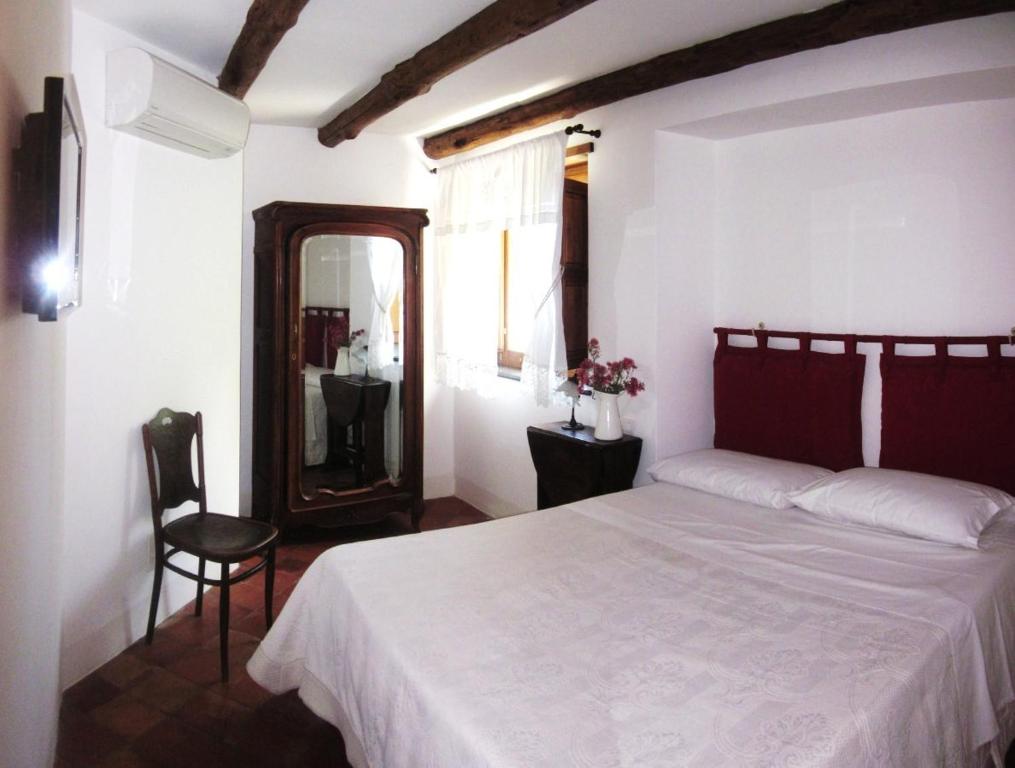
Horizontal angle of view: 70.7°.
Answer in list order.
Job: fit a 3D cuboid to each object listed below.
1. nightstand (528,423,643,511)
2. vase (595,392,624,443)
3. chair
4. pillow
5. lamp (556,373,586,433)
[{"bbox_3d":[0.427,0.450,4.290,0.408,0.774,0.763,0,2,-33],"label":"nightstand"},{"bbox_3d":[0.577,0.185,4.044,0.196,0.284,0.220,0,-1,-35],"label":"vase"},{"bbox_3d":[-1.470,0.710,3.523,0.905,1.104,0.630,12,18,38],"label":"chair"},{"bbox_3d":[1.517,0.508,3.382,1.403,0.275,0.379,13,19,38],"label":"pillow"},{"bbox_3d":[0.397,0.105,4.431,0.116,0.398,0.328,2,-1,-18],"label":"lamp"}]
